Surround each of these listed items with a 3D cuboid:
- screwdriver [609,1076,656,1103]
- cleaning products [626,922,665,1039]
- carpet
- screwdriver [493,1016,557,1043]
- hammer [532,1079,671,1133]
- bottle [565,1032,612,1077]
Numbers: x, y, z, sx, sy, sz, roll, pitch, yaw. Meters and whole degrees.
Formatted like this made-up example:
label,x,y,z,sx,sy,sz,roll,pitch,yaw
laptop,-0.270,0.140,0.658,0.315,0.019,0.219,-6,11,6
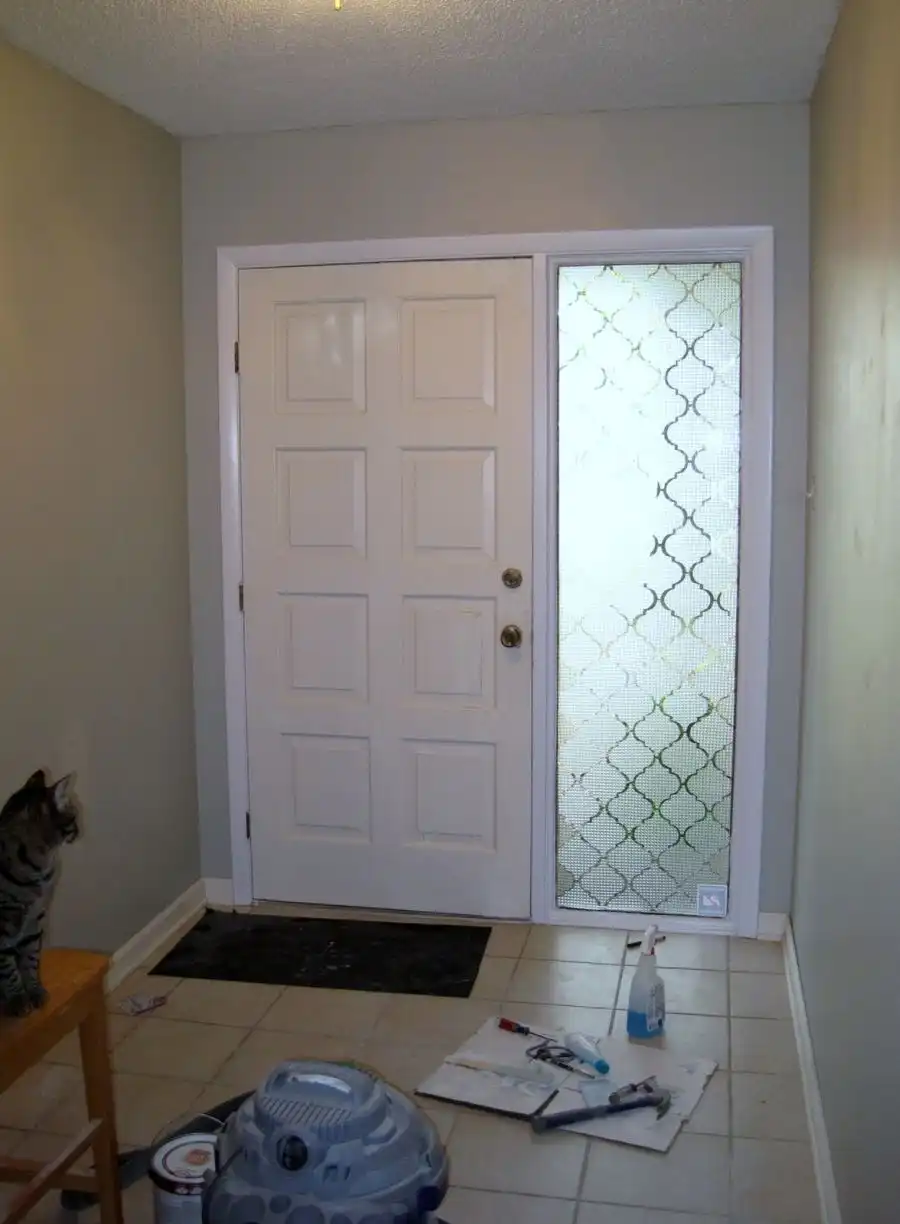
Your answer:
label,x,y,z,sx,sy,sz,roll,pitch,yaw
screwdriver,0.348,0.926,1.952,0.060,0.017,0.038,-8,3,-10
cleaning products,0.432,0.796,2.221,0.087,0.276,0.233,0,5,12
carpet,-0.328,0.903,2.675,0.845,0.020,0.441,0,5,10
screwdriver,0.163,0.921,2.203,0.108,0.032,0.021,10,6,26
hammer,0.290,0.940,1.912,0.282,0.034,0.096,-2,5,-9
bottle,0.280,0.905,2.062,0.037,0.046,0.155,-33,-2,-13
